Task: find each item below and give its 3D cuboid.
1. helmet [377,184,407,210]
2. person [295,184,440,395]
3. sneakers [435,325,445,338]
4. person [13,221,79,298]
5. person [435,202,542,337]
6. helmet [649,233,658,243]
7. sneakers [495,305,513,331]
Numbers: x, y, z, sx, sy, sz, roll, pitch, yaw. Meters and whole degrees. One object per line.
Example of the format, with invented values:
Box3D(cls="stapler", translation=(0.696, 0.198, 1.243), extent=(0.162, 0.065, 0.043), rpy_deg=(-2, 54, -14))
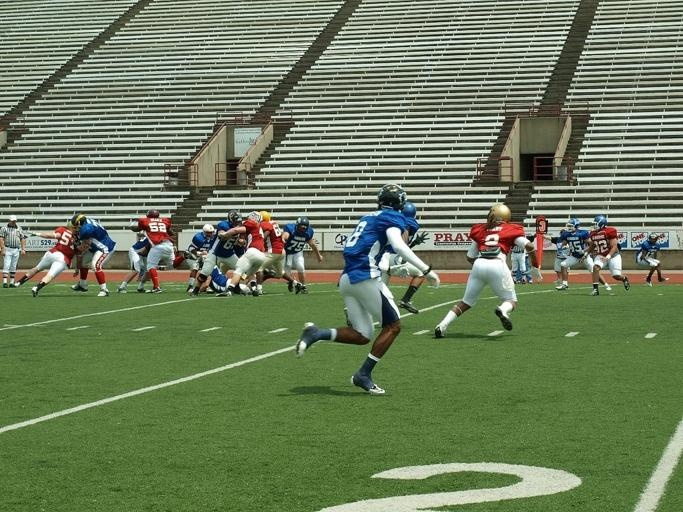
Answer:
Box3D(cls="helmet", translation=(0.496, -0.595, 8.907), extent=(0.215, 0.237, 0.280), rpy_deg=(22, 21, 23))
Box3D(cls="person", translation=(0.279, 0.288, 8.689), extent=(1.023, 2.002, 0.566), rpy_deg=(5, 0, 4))
Box3D(cls="sneakers", translation=(1.302, 1.015, 12.097), extent=(0.110, 0.177, 0.180), rpy_deg=(0, 3, 25))
Box3D(cls="person", translation=(-6.265, 0.086, 19.547), extent=(1.001, 1.570, 2.671), rpy_deg=(5, 0, -20))
Box3D(cls="person", translation=(2.002, 0.222, 12.580), extent=(1.277, 1.955, 1.087), rpy_deg=(1, -10, 28))
Box3D(cls="helmet", translation=(7.970, -0.469, 23.071), extent=(0.242, 0.250, 0.271), rpy_deg=(1, -11, 10))
Box3D(cls="sneakers", translation=(2.233, 0.872, 12.535), extent=(0.167, 0.355, 0.119), rpy_deg=(-34, 4, -32))
